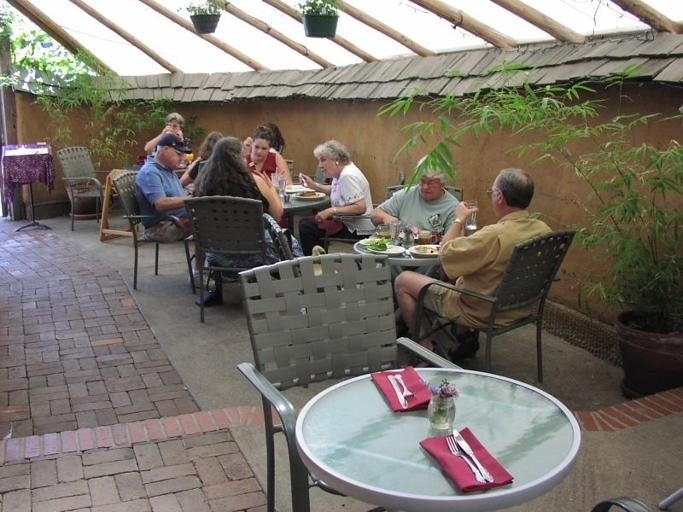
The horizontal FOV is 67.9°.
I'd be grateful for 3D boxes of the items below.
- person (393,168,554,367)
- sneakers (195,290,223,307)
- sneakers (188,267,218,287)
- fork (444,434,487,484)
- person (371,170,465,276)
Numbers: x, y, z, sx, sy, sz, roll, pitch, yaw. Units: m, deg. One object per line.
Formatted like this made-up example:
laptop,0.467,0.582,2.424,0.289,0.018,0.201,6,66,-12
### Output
person,0.988,0.123,3.695,0.895,1.401,0.978,-6,14,-38
sneakers,-1.313,0.431,5.042,0.204,0.069,0.235,-1,7,-20
sneakers,-1.505,0.232,5.488,0.316,0.112,0.374,1,5,-11
fork,0.396,0.621,1.568,0.044,0.016,0.146,-4,22,-16
person,0.662,-0.235,4.622,0.807,1.131,0.610,13,24,10
